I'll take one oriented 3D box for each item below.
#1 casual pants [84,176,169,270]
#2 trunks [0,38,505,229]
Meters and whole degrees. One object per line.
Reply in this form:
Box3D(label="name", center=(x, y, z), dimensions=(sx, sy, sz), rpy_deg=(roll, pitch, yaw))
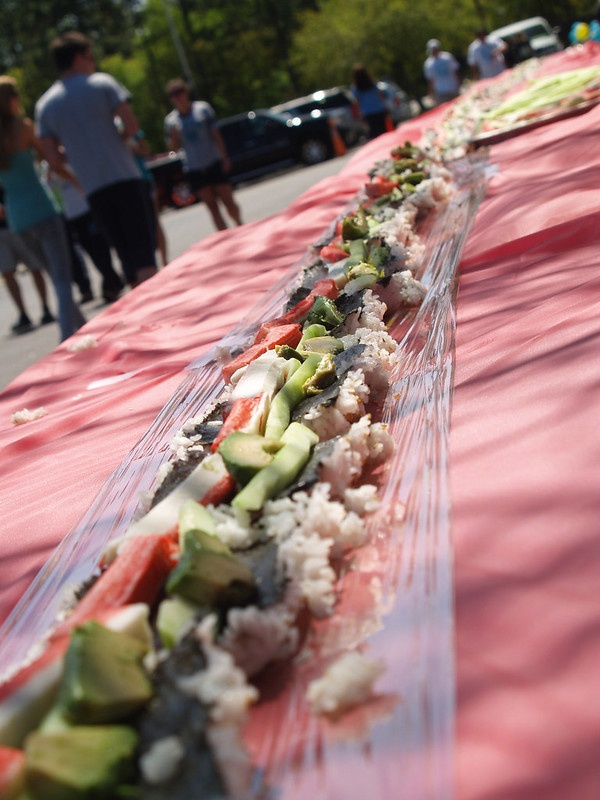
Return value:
Box3D(label="casual pants", center=(-0.856, -0.890, 3.770), dimensions=(0.227, 0.540, 0.304), rpy_deg=(-11, -7, -39))
Box3D(label="trunks", center=(-0.490, -4.385, 12.645), dimensions=(6.414, 1.919, 2.550), rpy_deg=(-18, 20, 1))
